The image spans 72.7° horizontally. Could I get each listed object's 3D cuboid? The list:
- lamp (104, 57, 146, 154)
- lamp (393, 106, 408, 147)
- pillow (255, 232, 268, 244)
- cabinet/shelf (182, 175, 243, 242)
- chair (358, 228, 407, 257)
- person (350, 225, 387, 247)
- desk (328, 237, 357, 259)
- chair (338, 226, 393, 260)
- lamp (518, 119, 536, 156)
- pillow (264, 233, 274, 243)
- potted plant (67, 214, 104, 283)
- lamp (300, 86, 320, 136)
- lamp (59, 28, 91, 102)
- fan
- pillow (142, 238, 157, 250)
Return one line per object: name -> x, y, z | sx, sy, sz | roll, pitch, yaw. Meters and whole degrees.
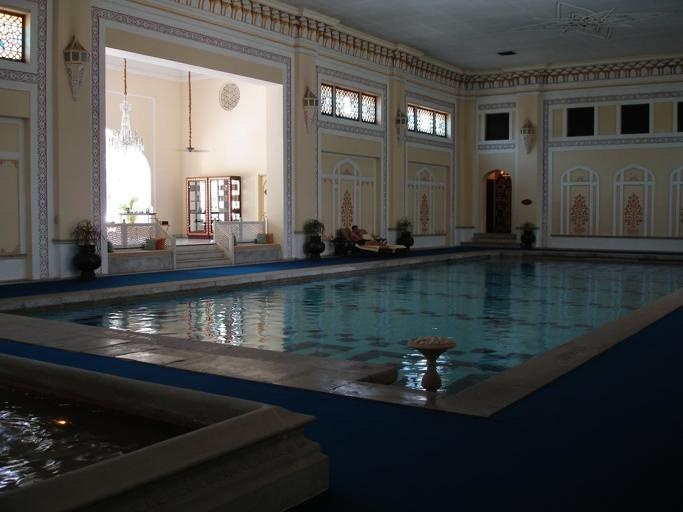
lamp -> -7.423, -5.221, 15.888 | 1.535, 3.116, 1.401 | 16, 27, 4
lamp -> 2.269, -4.813, 17.088 | 0.366, 1.236, 0.643 | 1, 2, 35
pillow -> -2.408, -0.538, 13.890 | 0.411, 0.338, 0.144 | 1, -5, -1
cabinet/shelf -> -4.796, -1.852, 17.588 | 3.221, 2.904, 1.063 | -1, -2, 31
chair -> 1.280, -0.449, 14.953 | 1.312, 0.445, 0.945 | 4, 7, 43
person -> 0.817, -0.631, 15.250 | 1.403, 0.611, 0.532 | 0, 12, 5
desk -> 0.066, -0.291, 15.194 | 0.646, 0.359, 0.780 | -1, 5, -28
chair -> 0.758, -0.489, 15.085 | 1.514, 0.544, 1.008 | 3, 5, 35
lamp -> 7.586, -4.881, 18.794 | 0.585, 1.353, 0.426 | 1, 1, 12
pillow -> -2.168, -0.539, 13.965 | 0.272, 0.237, 0.108 | -4, -1, -39
potted plant -> -5.316, -0.158, 9.720 | 0.562, 1.244, 0.664 | 0, 2, -32
lamp -> -0.889, -4.472, 14.005 | 0.306, 1.241, 0.558 | 2, 2, 39
lamp -> -5.429, -3.896, 9.476 | 0.420, 1.300, 0.359 | 0, 1, -29
fan -> -6.063, -5.720, 18.760 | 1.553, 3.257, 1.566 | 27, 34, 24
pillow -> -4.862, -0.308, 11.749 | 0.374, 0.303, 0.125 | 0, 0, 6
